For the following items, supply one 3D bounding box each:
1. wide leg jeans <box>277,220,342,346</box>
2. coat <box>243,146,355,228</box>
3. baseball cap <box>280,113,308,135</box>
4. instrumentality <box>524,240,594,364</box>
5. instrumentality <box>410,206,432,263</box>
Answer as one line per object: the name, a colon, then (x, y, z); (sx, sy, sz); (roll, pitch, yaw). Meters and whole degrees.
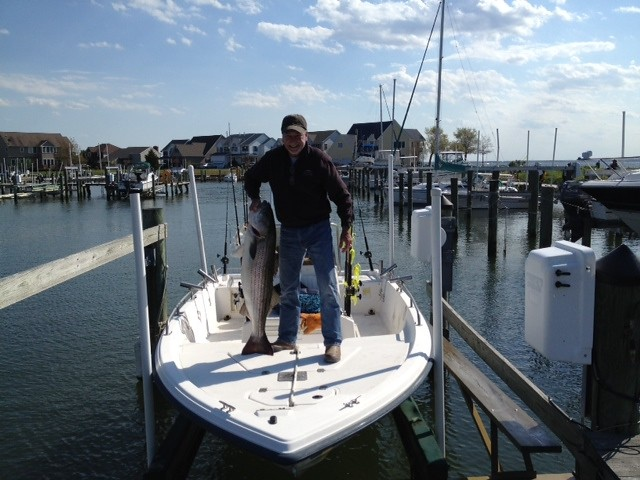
wide leg jeans: (-0.140, 0.393, 4.685); (0.589, 0.326, 1.605); (-1, 49, -1)
coat: (-0.204, -0.479, 4.519); (0.968, 0.721, 0.183); (3, 11, 12)
baseball cap: (-0.219, -0.988, 4.321); (0.208, 0.154, 0.111); (-1, 11, -6)
instrumentality: (1.813, 0.469, 3.756); (0.399, 0.858, 0.256); (-1, 11, -5)
instrumentality: (1.062, -0.069, 5.249); (0.200, 0.544, 0.226); (2, 11, 9)
